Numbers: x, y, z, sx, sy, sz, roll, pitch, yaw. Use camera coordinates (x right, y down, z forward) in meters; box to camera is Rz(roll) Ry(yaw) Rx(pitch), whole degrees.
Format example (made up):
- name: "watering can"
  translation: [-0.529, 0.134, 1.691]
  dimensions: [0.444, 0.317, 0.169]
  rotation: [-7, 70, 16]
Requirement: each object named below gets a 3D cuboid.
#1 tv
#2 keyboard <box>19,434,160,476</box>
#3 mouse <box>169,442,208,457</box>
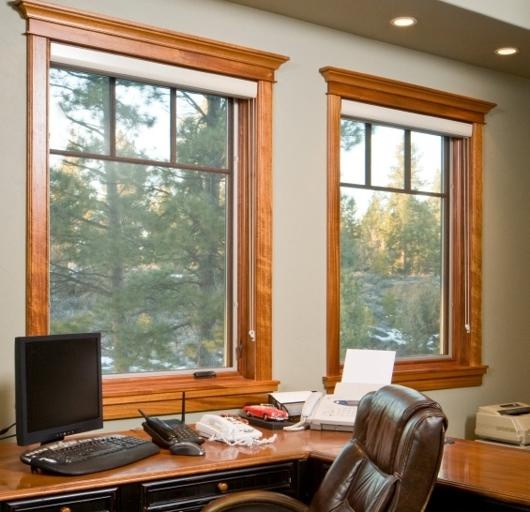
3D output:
- name: "tv"
  translation: [-0.825, 0.523, 2.248]
  dimensions: [0.107, 0.504, 0.452]
  rotation: [-11, -13, 37]
- name: "keyboard"
  translation: [-0.680, 0.752, 2.184]
  dimensions: [0.346, 0.064, 0.433]
  rotation: [0, 0, 30]
- name: "mouse"
  translation: [-0.314, 0.751, 2.264]
  dimensions: [0.098, 0.031, 0.061]
  rotation: [-2, -4, 17]
